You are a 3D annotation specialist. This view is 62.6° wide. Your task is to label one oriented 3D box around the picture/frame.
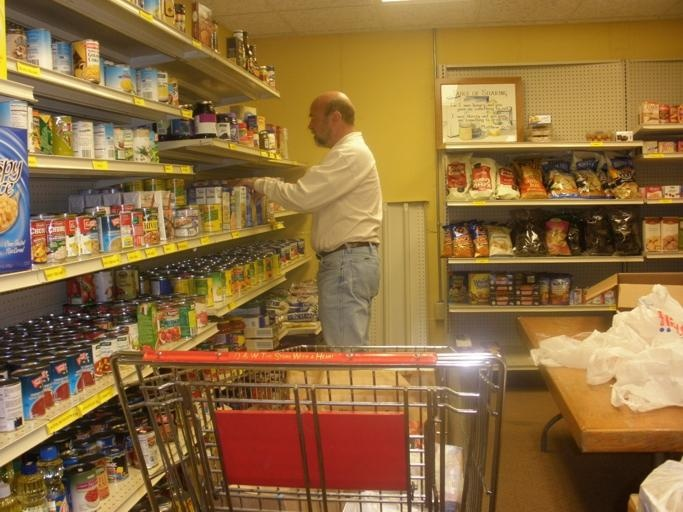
[{"bbox_3d":[1.285,-1.354,5.180,0.832,0.511,0.079,-1,-4,1],"label":"picture/frame"}]
